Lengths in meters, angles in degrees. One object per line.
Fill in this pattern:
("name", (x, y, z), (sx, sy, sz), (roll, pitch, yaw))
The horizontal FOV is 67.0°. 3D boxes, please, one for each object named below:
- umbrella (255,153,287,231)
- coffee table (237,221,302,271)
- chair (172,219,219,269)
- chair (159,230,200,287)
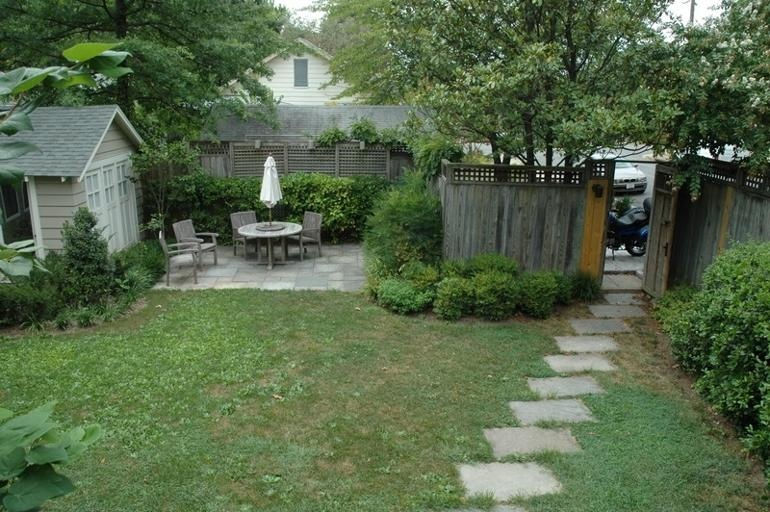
("umbrella", (-3.033, -1.693, 15.252), (0.665, 1.815, 1.740), (-3, 13, -11))
("coffee table", (-2.921, -0.128, 15.034), (1.377, 0.786, 1.364), (0, 12, 1))
("chair", (-4.783, -0.300, 14.688), (0.981, 1.060, 0.938), (-1, 9, -12))
("chair", (-5.161, -0.249, 14.700), (1.000, 0.992, 0.998), (-7, -4, -12))
